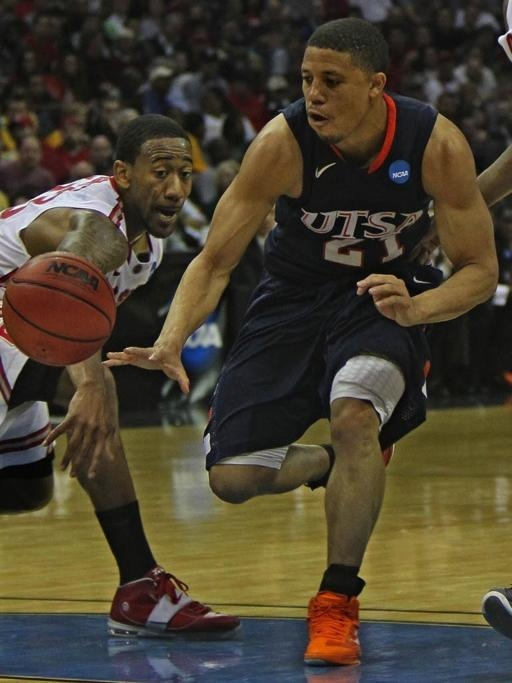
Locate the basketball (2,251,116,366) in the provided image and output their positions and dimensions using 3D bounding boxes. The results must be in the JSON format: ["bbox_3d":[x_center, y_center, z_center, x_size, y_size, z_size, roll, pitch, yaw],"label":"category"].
[{"bbox_3d":[-0.406,-0.055,1.541,0.227,0.245,0.119,-5,26,-9],"label":"basketball"}]

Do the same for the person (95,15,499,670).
[{"bbox_3d":[0.178,-0.044,1.786,0.724,1.334,0.865,6,27,16],"label":"person"}]

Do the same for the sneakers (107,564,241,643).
[{"bbox_3d":[-0.153,0.656,1.881,0.402,0.156,0.129,2,-8,6],"label":"sneakers"}]
